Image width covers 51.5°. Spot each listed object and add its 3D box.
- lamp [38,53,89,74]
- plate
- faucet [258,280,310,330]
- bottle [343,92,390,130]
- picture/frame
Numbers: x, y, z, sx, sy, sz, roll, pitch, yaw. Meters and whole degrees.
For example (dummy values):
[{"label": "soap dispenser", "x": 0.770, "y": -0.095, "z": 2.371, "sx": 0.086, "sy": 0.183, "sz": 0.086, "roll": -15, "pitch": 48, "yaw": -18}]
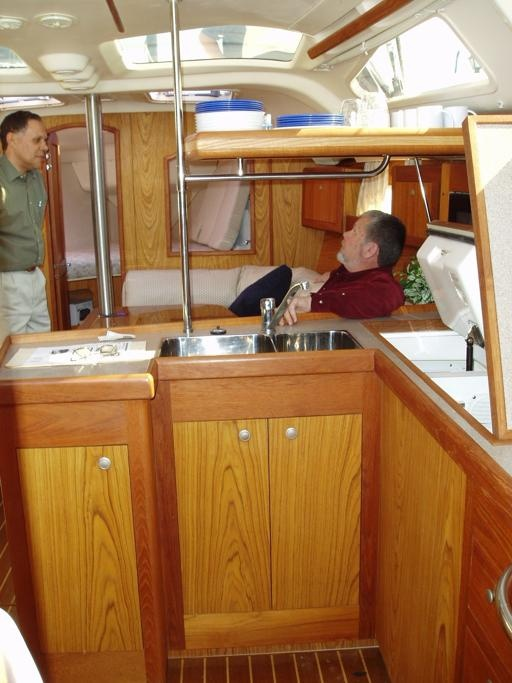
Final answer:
[{"label": "lamp", "x": -0.970, "y": -1.416, "z": 2.680, "sx": 0.125, "sy": 0.040, "sz": 0.126, "roll": -3, "pitch": 11, "yaw": -11}, {"label": "plate", "x": 0.045, "y": -0.614, "z": 1.447, "sx": 0.409, "sy": 0.089, "sz": 0.195, "roll": -2, "pitch": 16, "yaw": -5}, {"label": "faucet", "x": 0.087, "y": -0.115, "z": 1.853, "sx": 0.063, "sy": 0.139, "sz": 0.271, "roll": -1, "pitch": 12, "yaw": 43}, {"label": "bottle", "x": 0.308, "y": -0.654, "z": 1.493, "sx": 0.135, "sy": 0.097, "sz": 0.125, "roll": -1, "pitch": 16, "yaw": 0}, {"label": "picture/frame", "x": -0.396, "y": -1.303, "z": 5.270, "sx": 0.261, "sy": 1.078, "sz": 1.132, "roll": 5, "pitch": 1, "yaw": -30}]
